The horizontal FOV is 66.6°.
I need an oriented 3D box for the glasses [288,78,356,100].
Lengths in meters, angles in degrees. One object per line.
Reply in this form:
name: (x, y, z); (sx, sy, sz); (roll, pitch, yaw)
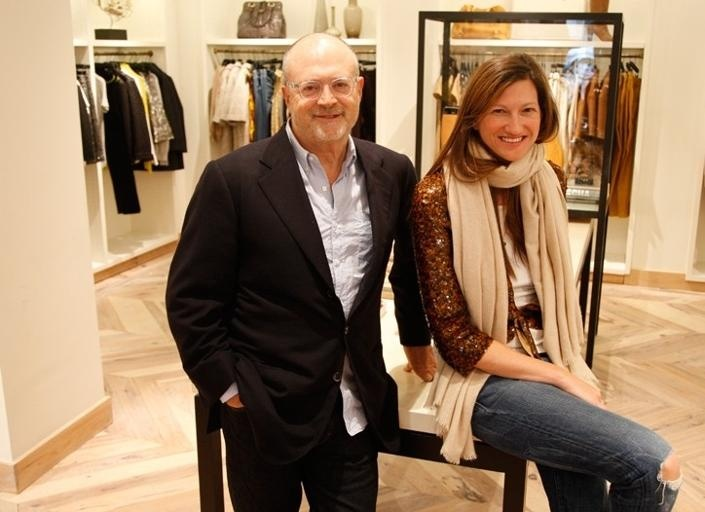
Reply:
glasses: (-0.094, -0.500, 1.618); (0.190, 0.062, 0.056); (-2, 11, -6)

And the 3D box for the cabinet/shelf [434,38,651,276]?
cabinet/shelf: (1.545, -0.676, 4.559); (0.761, 2.106, 2.171); (-12, 6, 19)

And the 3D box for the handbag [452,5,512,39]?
handbag: (0.953, -1.661, 3.947); (0.436, 0.136, 0.194); (1, 11, 9)

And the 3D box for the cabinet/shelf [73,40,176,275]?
cabinet/shelf: (-2.257, -1.075, 5.676); (0.951, 2.330, 1.399); (-4, 12, -16)
